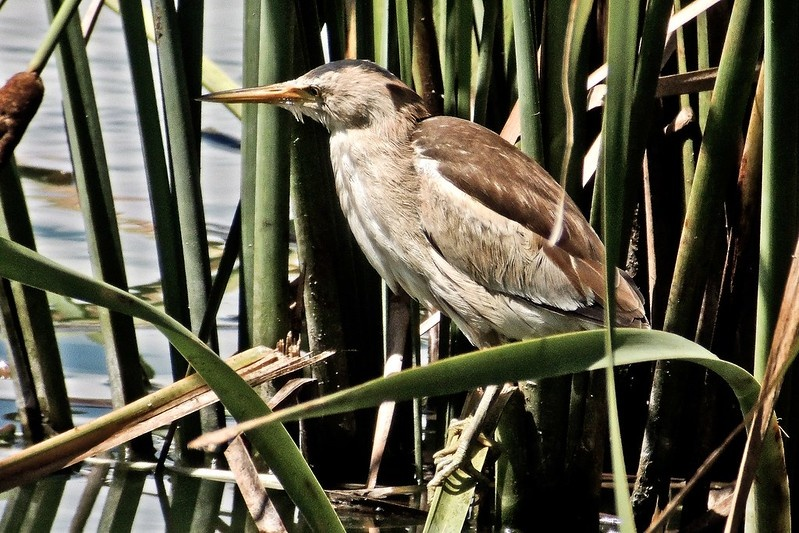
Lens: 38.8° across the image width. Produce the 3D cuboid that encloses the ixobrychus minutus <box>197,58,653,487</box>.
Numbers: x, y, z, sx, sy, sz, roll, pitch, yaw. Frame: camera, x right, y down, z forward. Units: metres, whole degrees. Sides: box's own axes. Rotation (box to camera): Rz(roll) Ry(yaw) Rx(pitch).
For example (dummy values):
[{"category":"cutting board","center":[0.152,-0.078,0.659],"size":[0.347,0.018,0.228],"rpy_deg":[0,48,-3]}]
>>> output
[{"category":"ixobrychus minutus","center":[0.094,0.046,2.907],"size":[1.205,1.023,0.394],"rpy_deg":[2,1,-23]}]
